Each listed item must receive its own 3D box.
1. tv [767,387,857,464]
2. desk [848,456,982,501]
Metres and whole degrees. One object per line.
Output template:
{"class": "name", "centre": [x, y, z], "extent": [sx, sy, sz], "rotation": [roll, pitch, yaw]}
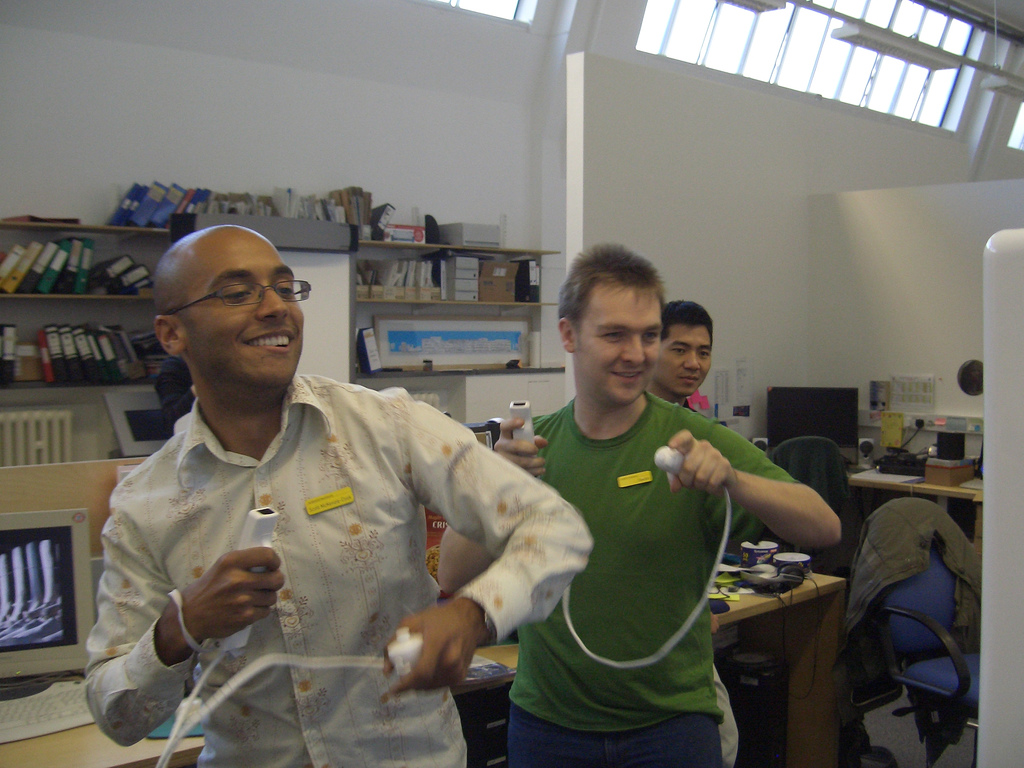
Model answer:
{"class": "tv", "centre": [2.295, 0.267, 6.059], "extent": [0.670, 0.522, 0.063], "rotation": [1, -21, 16]}
{"class": "desk", "centre": [2.824, 0.686, 5.561], "extent": [0.850, 0.332, 0.681], "rotation": [5, 6, 34]}
